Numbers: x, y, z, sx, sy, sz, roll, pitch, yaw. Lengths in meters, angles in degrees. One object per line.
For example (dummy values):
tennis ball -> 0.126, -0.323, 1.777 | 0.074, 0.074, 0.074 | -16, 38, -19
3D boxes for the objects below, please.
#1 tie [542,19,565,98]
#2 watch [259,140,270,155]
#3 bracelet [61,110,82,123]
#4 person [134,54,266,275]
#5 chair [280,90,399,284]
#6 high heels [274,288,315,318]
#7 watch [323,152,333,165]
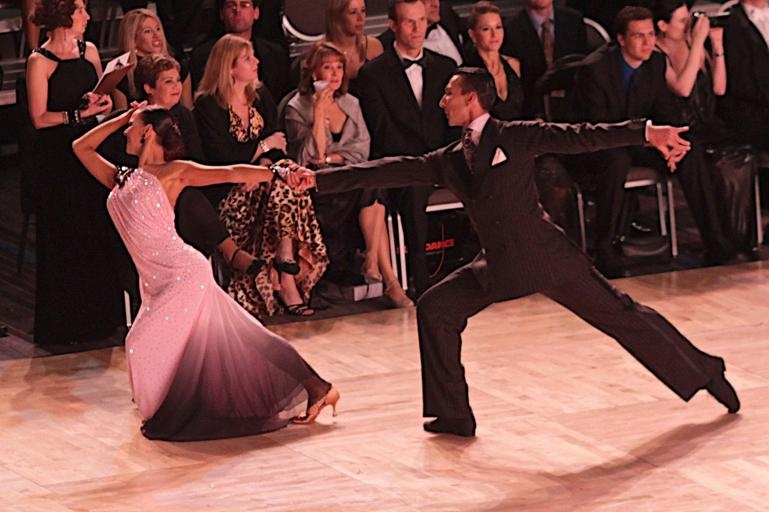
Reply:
tie -> 1.515, -1.710, 6.643 | 0.133, 0.802, 0.097 | -5, 4, 5
watch -> -0.967, -0.863, 5.867 | 0.073, 0.092, 0.046 | 0, -2, -2
bracelet -> -2.210, -0.977, 5.180 | 0.120, 0.049, 0.086 | 2, 35, 3
person -> -1.501, -0.657, 5.574 | 0.545, 1.503, 1.239 | -13, 3, 15
chair -> -0.433, -0.617, 6.245 | 0.680, 1.918, 0.842 | -16, 7, -10
high heels -> -0.732, 0.401, 5.933 | 0.146, 0.338, 0.087 | -44, -14, -26
watch -> -0.464, -0.779, 5.951 | 0.059, 0.063, 0.068 | 2, -14, 0
